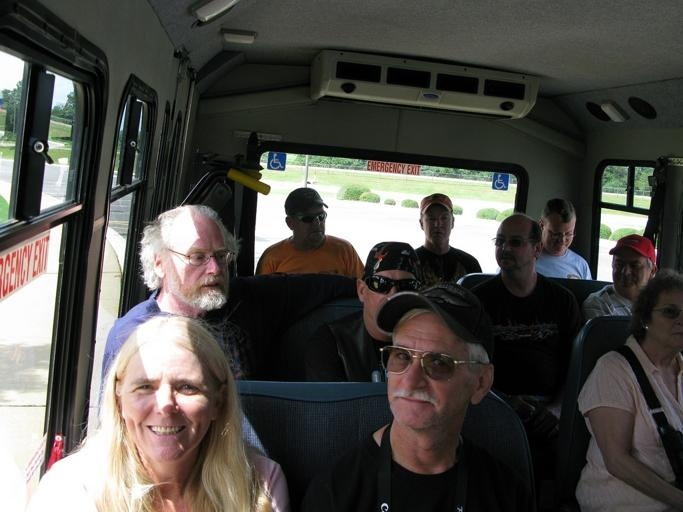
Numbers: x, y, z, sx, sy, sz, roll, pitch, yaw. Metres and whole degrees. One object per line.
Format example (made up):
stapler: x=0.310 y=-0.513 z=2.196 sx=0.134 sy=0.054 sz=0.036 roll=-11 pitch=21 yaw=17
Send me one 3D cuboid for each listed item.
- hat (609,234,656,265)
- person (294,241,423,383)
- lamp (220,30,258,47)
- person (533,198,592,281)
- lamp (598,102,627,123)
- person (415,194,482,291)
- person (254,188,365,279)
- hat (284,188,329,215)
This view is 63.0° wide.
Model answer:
hat: x=2.430 y=-0.067 z=4.590 sx=0.320 sy=0.170 sz=0.225 roll=32 pitch=-14 yaw=-27
person: x=0.064 y=0.329 z=3.150 sx=0.719 sy=0.798 sz=0.458 roll=10 pitch=-6 yaw=-5
lamp: x=-0.851 y=-1.826 z=4.627 sx=0.288 sy=0.086 sz=0.306 roll=4 pitch=5 yaw=-12
person: x=2.155 y=-0.141 z=5.394 sx=0.771 sy=0.694 sz=0.414 roll=-1 pitch=14 yaw=-8
lamp: x=2.703 y=-1.416 z=5.498 sx=0.389 sy=0.146 sz=0.184 roll=1 pitch=6 yaw=-44
person: x=0.985 y=-0.123 z=5.576 sx=0.893 sy=0.903 sz=0.575 roll=-1 pitch=-11 yaw=-7
person: x=-0.270 y=-0.127 z=5.335 sx=1.094 sy=1.074 sz=0.635 roll=-2 pitch=2 yaw=-21
hat: x=-0.335 y=-0.490 z=5.173 sx=0.302 sy=0.164 sz=0.230 roll=-14 pitch=12 yaw=16
